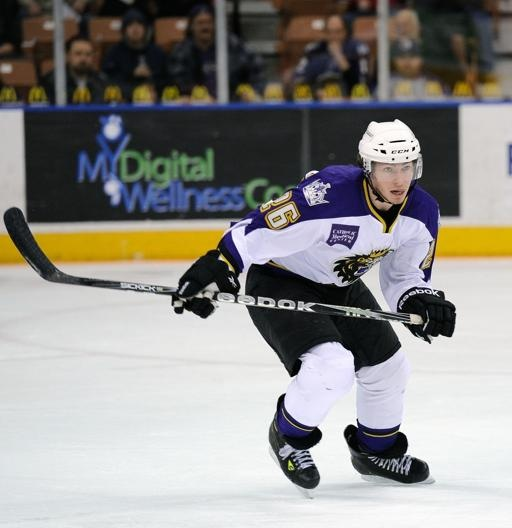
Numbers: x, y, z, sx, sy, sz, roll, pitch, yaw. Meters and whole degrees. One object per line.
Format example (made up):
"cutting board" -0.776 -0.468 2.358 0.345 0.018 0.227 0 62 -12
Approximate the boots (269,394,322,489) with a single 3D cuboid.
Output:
"boots" 0.102 0.519 2.710 0.111 0.136 0.278 -17 50 -23

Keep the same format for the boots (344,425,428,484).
"boots" 0.403 0.574 2.837 0.312 0.134 0.097 3 15 31

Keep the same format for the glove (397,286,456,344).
"glove" 0.522 0.151 2.767 0.173 0.156 0.073 14 31 15

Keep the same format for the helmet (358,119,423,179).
"helmet" 0.381 -0.326 2.655 0.169 0.175 0.194 -3 14 -11

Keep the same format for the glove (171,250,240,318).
"glove" -0.147 0.055 2.690 0.210 0.171 0.097 -37 12 -19

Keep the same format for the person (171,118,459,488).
"person" 0.185 0.111 2.741 0.811 1.051 0.462 -1 10 -5
